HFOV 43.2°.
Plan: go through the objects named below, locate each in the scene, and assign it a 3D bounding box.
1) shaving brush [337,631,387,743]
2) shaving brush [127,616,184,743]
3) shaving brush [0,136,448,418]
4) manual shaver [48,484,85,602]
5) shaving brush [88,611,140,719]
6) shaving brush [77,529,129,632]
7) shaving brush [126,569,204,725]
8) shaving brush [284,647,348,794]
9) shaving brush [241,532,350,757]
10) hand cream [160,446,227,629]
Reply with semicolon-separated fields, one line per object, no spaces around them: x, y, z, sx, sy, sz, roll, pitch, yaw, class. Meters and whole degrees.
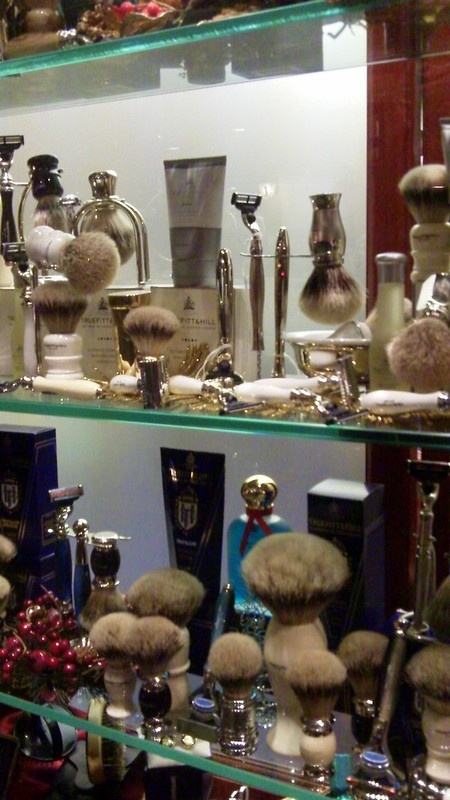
0.085;0.183;0.354;0.027;0.070;0.030;-4;-11;13;shaving brush
-0.048;0.185;0.381;0.035;0.067;0.042;-1;12;16;shaving brush
-0.051;-0.075;0.426;0.387;0.170;0.130;1;6;18;shaving brush
-0.128;0.114;0.475;0.025;0.023;0.081;-4;46;-23;manual shaver
-0.076;0.190;0.413;0.035;0.075;0.036;-3;0;-11;shaving brush
-0.096;0.157;0.468;0.034;0.086;0.041;-9;-19;1;shaving brush
-0.040;0.180;0.418;0.062;0.127;0.068;0;-2;-4;shaving brush
0.055;0.177;0.331;0.031;0.075;0.079;-2;13;14;shaving brush
0.044;0.152;0.353;0.062;0.134;0.067;2;-25;4;shaving brush
-0.032;0.121;0.509;0.056;0.160;0.022;6;16;5;hand cream
